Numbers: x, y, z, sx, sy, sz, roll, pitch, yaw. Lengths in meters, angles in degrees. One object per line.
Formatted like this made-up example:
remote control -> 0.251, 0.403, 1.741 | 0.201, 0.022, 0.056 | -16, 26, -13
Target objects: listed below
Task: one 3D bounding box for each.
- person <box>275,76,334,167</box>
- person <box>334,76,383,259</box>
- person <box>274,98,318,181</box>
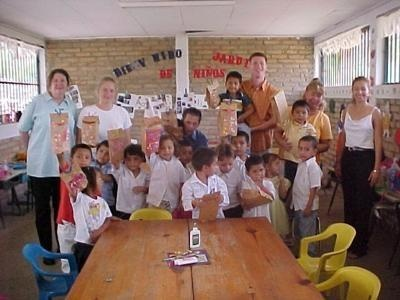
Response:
person -> 1.225, -0.312, 3.757 | 0.637, 1.046, 0.557 | 16, 19, 27
person -> 1.795, 0.215, 3.593 | 0.427, 2.024, 0.220 | 4, 10, 38
person -> 1.111, -0.016, 3.733 | 0.500, 1.199, 0.325 | 5, 31, 15
